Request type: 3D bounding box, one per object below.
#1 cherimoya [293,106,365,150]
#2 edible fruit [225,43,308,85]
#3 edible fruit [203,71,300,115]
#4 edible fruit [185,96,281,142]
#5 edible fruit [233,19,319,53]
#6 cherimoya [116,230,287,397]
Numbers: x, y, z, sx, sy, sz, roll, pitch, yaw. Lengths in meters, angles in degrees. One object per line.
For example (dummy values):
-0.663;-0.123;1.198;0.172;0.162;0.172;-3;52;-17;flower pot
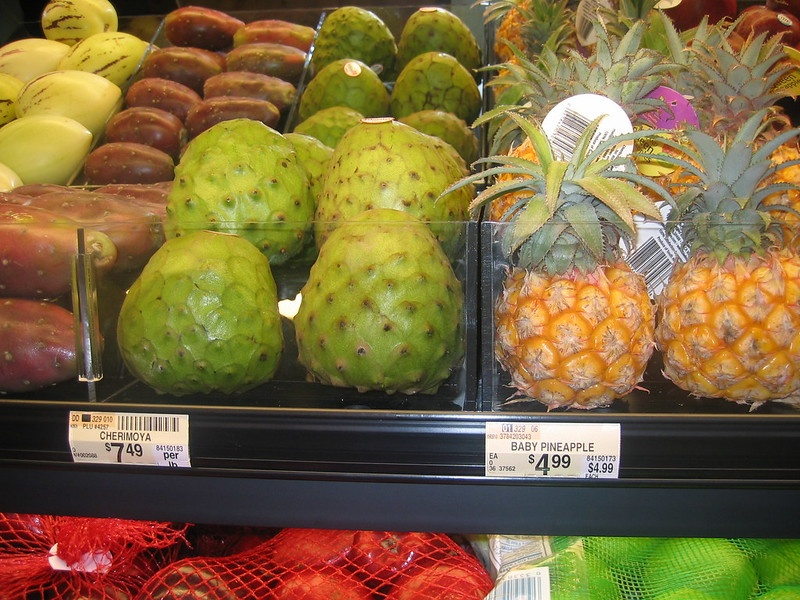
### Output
-0.181;-0.472;1.906;0.193;0.102;0.142;-5;1;-27;cherimoya
-0.461;-0.827;2.323;0.219;0.104;0.155;10;12;3;edible fruit
-0.490;-0.677;2.182;0.221;0.100;0.157;8;-4;14;edible fruit
-0.528;-0.568;2.082;0.255;0.127;0.175;-3;14;11;edible fruit
-0.455;-0.970;2.466;0.228;0.100;0.161;8;12;9;edible fruit
-0.359;0.002;1.385;0.279;0.246;0.334;18;26;12;cherimoya
